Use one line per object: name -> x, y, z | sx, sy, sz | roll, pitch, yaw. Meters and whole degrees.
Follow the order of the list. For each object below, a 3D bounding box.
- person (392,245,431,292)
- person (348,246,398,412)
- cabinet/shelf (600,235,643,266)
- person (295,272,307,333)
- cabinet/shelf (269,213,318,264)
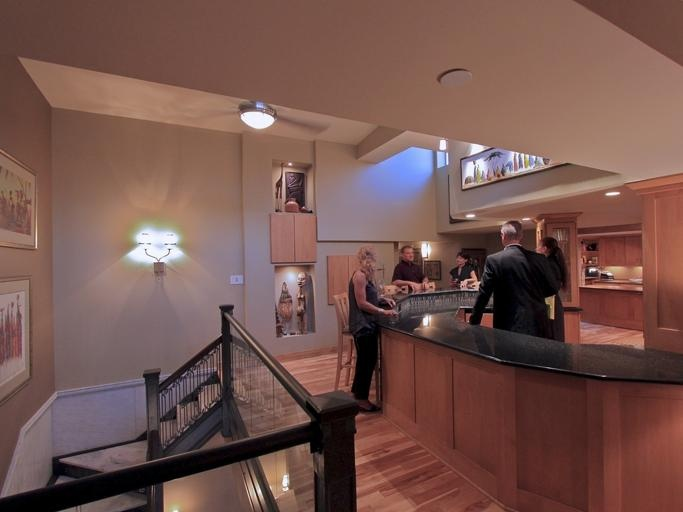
person -> 1.030, 0.368, 7.359 | 0.545, 0.979, 0.443 | -3, -4, -10
person -> 0.270, 0.766, 5.054 | 0.445, 1.368, 0.313 | -3, 1, 11
cabinet/shelf -> 5.422, -0.107, 9.607 | 0.185, 0.499, 0.543 | 3, -5, -22
person -> -0.635, 0.744, 7.592 | 0.215, 0.940, 0.193 | 0, -1, -22
cabinet/shelf -> -0.740, -0.256, 7.295 | 0.705, 0.743, 0.232 | 0, -2, -32
